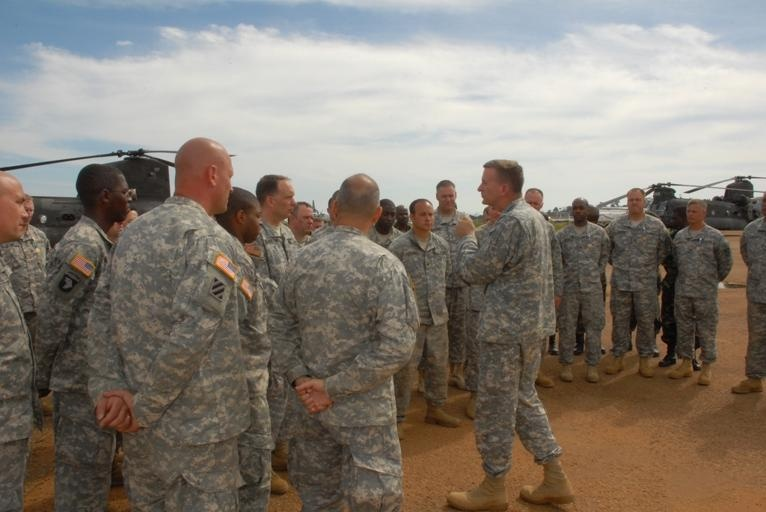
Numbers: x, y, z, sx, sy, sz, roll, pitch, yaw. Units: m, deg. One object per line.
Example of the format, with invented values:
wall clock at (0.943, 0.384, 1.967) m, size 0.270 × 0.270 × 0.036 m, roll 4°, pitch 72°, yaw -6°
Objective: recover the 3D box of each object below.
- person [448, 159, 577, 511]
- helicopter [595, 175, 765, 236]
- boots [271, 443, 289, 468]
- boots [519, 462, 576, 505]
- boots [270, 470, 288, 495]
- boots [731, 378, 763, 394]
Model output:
person at (1.259, 0.749, 5.972) m, size 1.082 × 3.254 × 1.008 m, roll 0°, pitch 15°, yaw -2°
helicopter at (8.258, -1.181, 16.455) m, size 4.695 × 1.445 × 4.013 m, roll -2°, pitch 1°, yaw -23°
boots at (-1.101, 2.143, 6.671) m, size 0.187 × 0.208 × 0.233 m, roll -1°, pitch 2°, yaw -6°
boots at (1.589, 2.248, 6.148) m, size 0.690 × 0.434 × 0.271 m, roll -2°, pitch -7°, yaw 22°
boots at (-1.044, 2.290, 6.279) m, size 0.167 × 0.141 × 0.255 m, roll -1°, pitch 13°, yaw -8°
boots at (4.928, 1.776, 8.480) m, size 0.503 × 0.183 × 0.171 m, roll -1°, pitch 0°, yaw -4°
